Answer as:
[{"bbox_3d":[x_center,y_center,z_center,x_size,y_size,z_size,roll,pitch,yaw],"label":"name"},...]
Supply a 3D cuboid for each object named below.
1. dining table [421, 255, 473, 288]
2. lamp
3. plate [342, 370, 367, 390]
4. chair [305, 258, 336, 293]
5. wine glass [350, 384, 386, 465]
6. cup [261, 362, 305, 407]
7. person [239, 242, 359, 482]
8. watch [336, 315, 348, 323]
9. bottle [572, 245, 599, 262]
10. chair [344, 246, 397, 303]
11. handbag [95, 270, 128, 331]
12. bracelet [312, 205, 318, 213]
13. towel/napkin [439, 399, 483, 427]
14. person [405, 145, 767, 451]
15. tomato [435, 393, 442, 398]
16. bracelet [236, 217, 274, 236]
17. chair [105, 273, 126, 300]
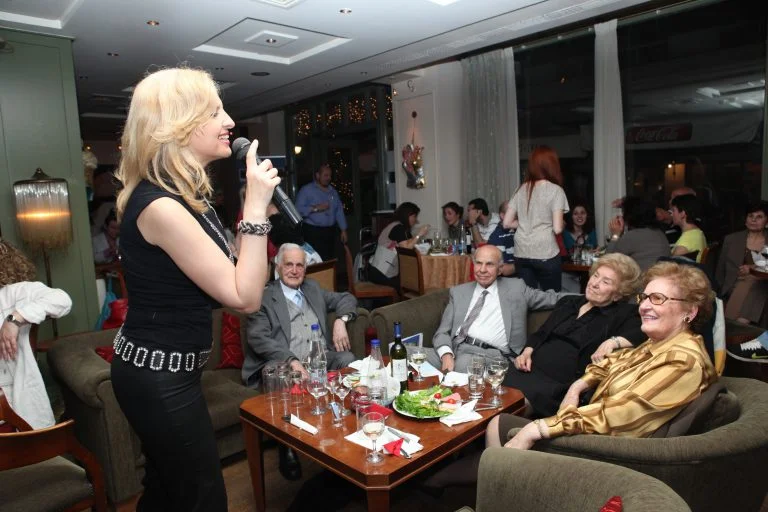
[{"bbox_3d":[0.667,0.059,5.960,0.568,0.379,0.597,8,17,-6],"label":"dining table"},{"bbox_3d":[-2.982,0.061,4.504,0.505,1.593,0.519,-2,5,-8],"label":"lamp"},{"bbox_3d":[-0.169,0.747,3.105,0.113,0.029,0.117,2,3,30],"label":"plate"},{"bbox_3d":[-0.603,0.172,4.860,0.246,0.331,0.342,4,7,39],"label":"chair"},{"bbox_3d":[-0.067,0.849,2.666,0.155,0.278,0.456,-4,10,-7],"label":"wine glass"},{"bbox_3d":[-0.578,0.751,3.033,0.223,0.227,0.217,0,0,0],"label":"cup"},{"bbox_3d":[-0.600,0.733,3.777,0.899,1.495,1.201,-2,5,3],"label":"person"},{"bbox_3d":[-0.317,0.488,3.984,0.069,0.047,0.067,4,-6,-39],"label":"watch"},{"bbox_3d":[2.077,-0.034,5.221,0.175,0.133,0.178,0,5,0],"label":"bottle"},{"bbox_3d":[-0.164,0.393,6.092,0.591,1.005,0.549,-3,2,-8],"label":"chair"},{"bbox_3d":[-2.520,0.405,4.710,0.213,0.463,0.355,-10,22,-8],"label":"handbag"},{"bbox_3d":[-1.003,-0.685,7.380,0.075,0.105,0.032,1,-2,5],"label":"bracelet"},{"bbox_3d":[0.437,0.873,2.818,0.160,0.022,0.104,-13,13,-35],"label":"towel/napkin"},{"bbox_3d":[0.887,0.381,3.091,1.404,1.791,0.780,19,0,-6],"label":"person"},{"bbox_3d":[0.307,0.796,2.894,0.025,0.027,0.030,-15,-7,-29],"label":"tomato"},{"bbox_3d":[-0.493,-0.108,1.931,0.118,0.066,0.100,-5,10,-15],"label":"bracelet"},{"bbox_3d":[-2.714,0.304,5.115,0.159,0.178,0.299,-2,-19,-10],"label":"chair"}]
